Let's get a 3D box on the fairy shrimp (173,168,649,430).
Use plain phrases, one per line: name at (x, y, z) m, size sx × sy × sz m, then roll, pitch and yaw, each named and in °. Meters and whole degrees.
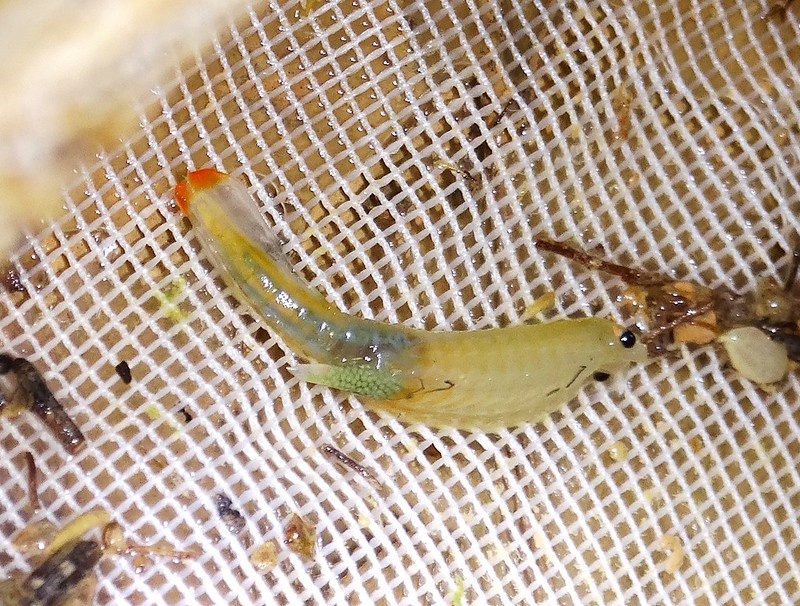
fairy shrimp at (-0.015, 0.029, 1.262) m, size 0.623 × 0.080 × 0.208 m, roll 21°, pitch 82°, yaw 4°
